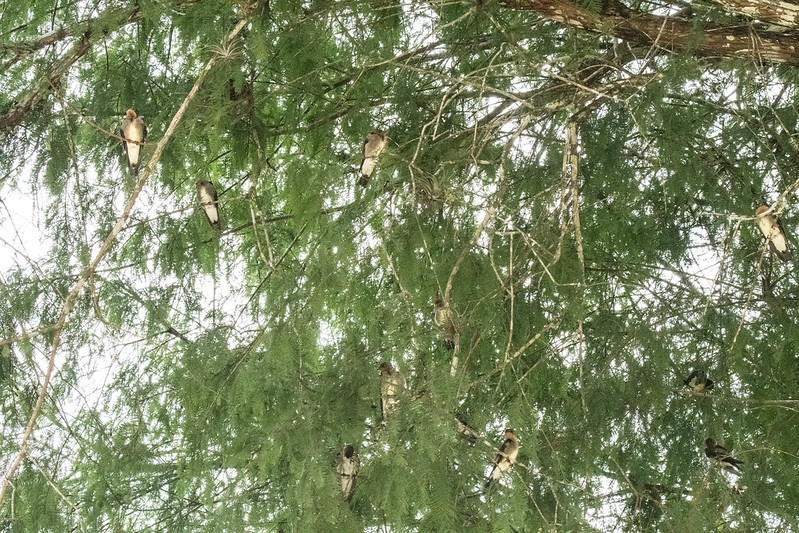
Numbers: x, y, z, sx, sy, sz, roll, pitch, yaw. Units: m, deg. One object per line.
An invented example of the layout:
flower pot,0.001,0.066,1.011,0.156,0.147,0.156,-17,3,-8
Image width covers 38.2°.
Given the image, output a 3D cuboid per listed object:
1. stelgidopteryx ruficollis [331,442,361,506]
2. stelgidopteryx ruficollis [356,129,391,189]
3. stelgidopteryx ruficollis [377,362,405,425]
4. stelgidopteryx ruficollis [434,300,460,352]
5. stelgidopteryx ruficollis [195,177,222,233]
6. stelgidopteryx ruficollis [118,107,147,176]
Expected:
stelgidopteryx ruficollis,-0.401,1.587,8.795,0.163,0.130,0.510,1,-63,-11
stelgidopteryx ruficollis,-0.236,-0.830,9.423,0.147,0.209,0.509,8,-49,-25
stelgidopteryx ruficollis,-0.084,0.967,8.684,0.190,0.499,0.146,-13,-39,15
stelgidopteryx ruficollis,0.347,0.428,8.785,0.128,0.162,0.435,-19,-82,-18
stelgidopteryx ruficollis,-1.549,-0.530,9.405,0.140,0.171,0.548,-9,-56,-7
stelgidopteryx ruficollis,-2.118,-0.962,9.160,0.169,0.233,0.674,0,-78,0
